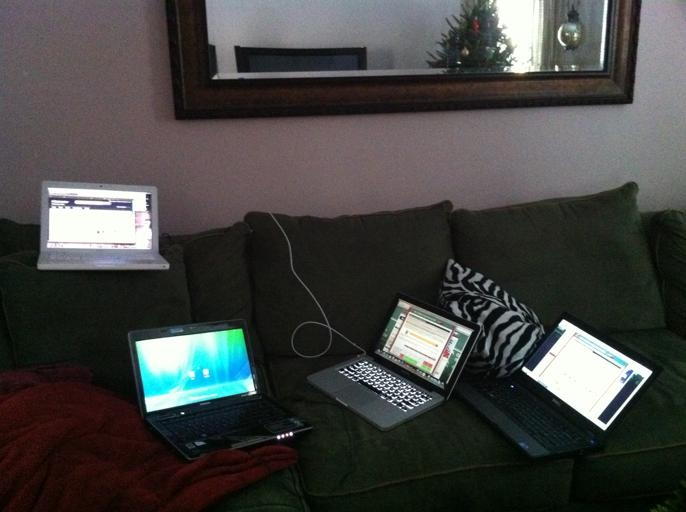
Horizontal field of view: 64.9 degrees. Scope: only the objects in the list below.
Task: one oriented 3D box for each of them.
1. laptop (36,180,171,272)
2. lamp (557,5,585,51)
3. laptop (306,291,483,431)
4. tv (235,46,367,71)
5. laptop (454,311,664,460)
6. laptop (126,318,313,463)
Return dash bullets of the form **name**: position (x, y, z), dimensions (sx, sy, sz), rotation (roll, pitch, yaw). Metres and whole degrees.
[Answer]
- **laptop**: position (-0.849, -0.115, 1.905), dimensions (0.415, 0.274, 0.324), rotation (1, 10, -24)
- **lamp**: position (1.016, -1.036, 2.428), dimensions (0.139, 0.226, 0.139), rotation (6, 20, 15)
- **laptop**: position (0.164, 0.326, 1.803), dimensions (0.424, 0.243, 0.391), rotation (-12, 21, -41)
- **tv**: position (-0.180, -0.852, 2.318), dimensions (0.559, 0.120, 0.031), rotation (-6, 16, -7)
- **laptop**: position (0.634, 0.378, 1.705), dimensions (0.580, 0.267, 0.601), rotation (16, 16, 29)
- **laptop**: position (-0.392, 0.314, 1.616), dimensions (0.397, 0.253, 0.420), rotation (7, 8, -38)
